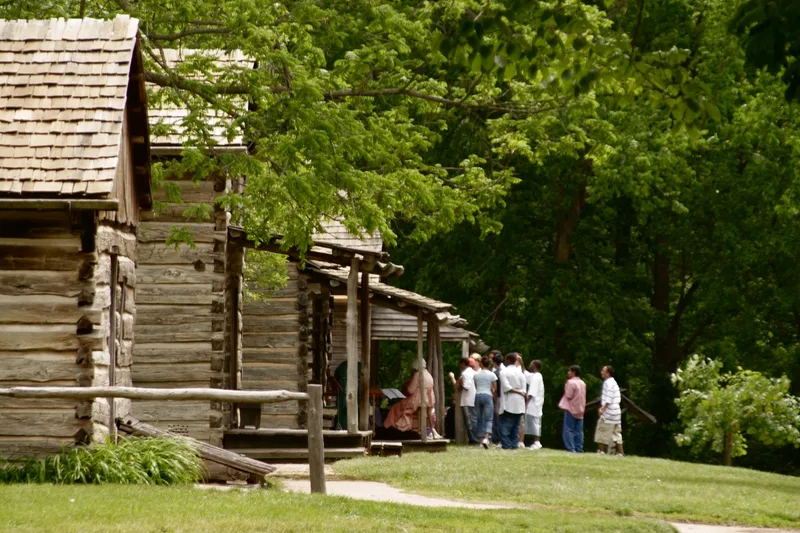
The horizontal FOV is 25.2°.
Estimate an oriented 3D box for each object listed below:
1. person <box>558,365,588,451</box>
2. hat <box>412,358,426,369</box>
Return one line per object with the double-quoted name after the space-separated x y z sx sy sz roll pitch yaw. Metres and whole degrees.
4.239 3.540 43.455 0.597 2.208 1.528 2 -8 6 "person"
0.481 2.399 42.575 0.340 0.243 0.242 -5 -4 29 "hat"
